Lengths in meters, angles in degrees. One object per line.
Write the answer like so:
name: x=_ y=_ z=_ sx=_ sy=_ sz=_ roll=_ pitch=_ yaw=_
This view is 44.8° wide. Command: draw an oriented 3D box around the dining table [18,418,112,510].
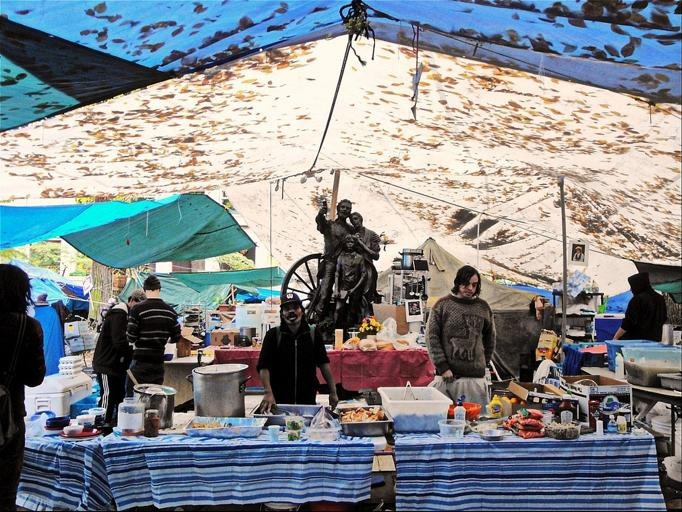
dining table: x=-2.307 y=1.796 z=6.865 sx=0.734 sy=0.405 sz=0.680 roll=1 pitch=-1 yaw=-5

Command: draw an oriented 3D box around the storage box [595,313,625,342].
storage box: x=4.266 y=1.163 z=13.263 sx=0.422 sy=0.452 sz=0.693 roll=1 pitch=-5 yaw=15

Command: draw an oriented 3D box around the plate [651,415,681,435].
plate: x=3.333 y=1.769 z=8.632 sx=0.249 sy=0.077 sz=0.232 roll=0 pitch=-2 yaw=-22

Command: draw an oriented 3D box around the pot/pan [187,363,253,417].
pot/pan: x=-1.067 y=1.229 z=7.410 sx=0.538 sy=0.430 sz=0.480 roll=0 pitch=3 yaw=20

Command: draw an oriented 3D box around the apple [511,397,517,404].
apple: x=1.639 y=1.382 z=7.872 sx=0.057 sy=0.046 sz=0.055 roll=-4 pitch=-11 yaw=19

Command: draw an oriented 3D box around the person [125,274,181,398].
person: x=-2.010 y=0.788 z=8.820 sx=0.290 sy=1.143 sz=0.553 roll=0 pitch=-7 yaw=33

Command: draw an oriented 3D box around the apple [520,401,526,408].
apple: x=1.699 y=1.393 z=7.719 sx=0.066 sy=0.035 sz=0.061 roll=-1 pitch=1 yaw=-18

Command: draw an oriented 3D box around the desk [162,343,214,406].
desk: x=-1.908 y=1.563 z=10.928 sx=0.443 sy=0.438 sz=0.851 roll=15 pitch=-5 yaw=-15

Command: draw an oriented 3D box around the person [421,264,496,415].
person: x=1.166 y=0.784 z=8.028 sx=0.679 sy=1.370 sz=0.471 roll=3 pitch=-6 yaw=0

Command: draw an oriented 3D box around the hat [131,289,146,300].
hat: x=-2.289 y=0.434 z=9.311 sx=0.111 sy=0.136 sz=0.101 roll=34 pitch=5 yaw=-35

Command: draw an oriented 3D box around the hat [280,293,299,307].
hat: x=-0.470 y=0.408 z=7.659 sx=0.177 sy=0.133 sz=0.203 roll=3 pitch=-6 yaw=-4

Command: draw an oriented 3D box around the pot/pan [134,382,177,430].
pot/pan: x=-1.578 y=1.310 z=7.128 sx=0.386 sy=0.334 sz=0.385 roll=3 pitch=-8 yaw=-9

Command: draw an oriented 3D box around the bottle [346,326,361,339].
bottle: x=0.170 y=1.086 z=11.724 sx=0.148 sy=0.144 sz=0.141 roll=1 pitch=0 yaw=-9

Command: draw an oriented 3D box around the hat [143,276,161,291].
hat: x=-2.045 y=0.304 z=8.956 sx=0.170 sy=0.166 sz=0.182 roll=-1 pitch=3 yaw=-11

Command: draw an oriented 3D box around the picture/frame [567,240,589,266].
picture/frame: x=3.331 y=-0.040 z=11.655 sx=0.423 sy=0.469 sz=0.039 roll=5 pitch=-15 yaw=3

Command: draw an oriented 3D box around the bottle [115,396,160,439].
bottle: x=-1.708 y=1.374 z=6.932 sx=0.371 sy=0.305 sz=0.240 roll=3 pitch=-8 yaw=-6

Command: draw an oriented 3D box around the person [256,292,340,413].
person: x=-0.399 y=1.003 z=7.640 sx=0.757 sy=0.825 sz=0.367 roll=4 pitch=-6 yaw=-5

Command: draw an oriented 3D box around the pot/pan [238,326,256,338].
pot/pan: x=-1.292 y=1.042 z=11.306 sx=0.222 sy=0.185 sz=0.149 roll=0 pitch=-4 yaw=3

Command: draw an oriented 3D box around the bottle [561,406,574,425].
bottle: x=1.918 y=1.374 z=7.063 sx=0.128 sy=0.150 sz=0.022 roll=2 pitch=-9 yaw=-4

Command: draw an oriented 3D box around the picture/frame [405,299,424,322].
picture/frame: x=1.053 y=0.791 z=12.052 sx=0.264 sy=0.332 sz=0.215 roll=3 pitch=-6 yaw=4

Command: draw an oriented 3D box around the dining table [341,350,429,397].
dining table: x=0.143 y=1.650 z=11.268 sx=1.976 sy=0.483 sz=1.859 roll=-3 pitch=-12 yaw=1

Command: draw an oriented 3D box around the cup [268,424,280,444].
cup: x=-0.566 y=1.479 z=6.796 sx=0.123 sy=0.111 sz=0.116 roll=-1 pitch=-9 yaw=0

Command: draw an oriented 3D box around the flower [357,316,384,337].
flower: x=0.397 y=0.982 z=11.468 sx=0.298 sy=0.259 sz=0.280 roll=4 pitch=2 yaw=10
